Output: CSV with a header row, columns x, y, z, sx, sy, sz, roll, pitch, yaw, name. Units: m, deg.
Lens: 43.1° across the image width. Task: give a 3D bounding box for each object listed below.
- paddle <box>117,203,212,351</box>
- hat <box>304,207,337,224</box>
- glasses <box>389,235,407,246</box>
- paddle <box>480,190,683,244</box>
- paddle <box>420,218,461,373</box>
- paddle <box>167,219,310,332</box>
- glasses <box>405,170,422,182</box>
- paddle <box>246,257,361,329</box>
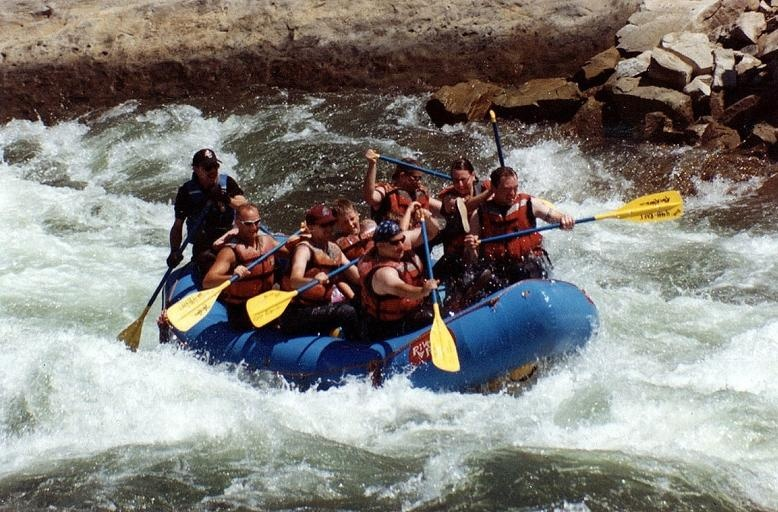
x,y,z,sx,sy,sz,roll,pitch,yaw,name
-3.230,0.376,14.193,0.397,0.168,2.435,31,77,-6,paddle
-0.880,-0.521,12.594,0.297,0.186,0.228,-20,3,26,hat
0.107,-0.190,12.075,0.203,0.125,0.064,-20,43,-19,glasses
2.822,-0.532,14.047,2.642,0.248,0.425,-14,80,1,paddle
0.566,0.425,12.679,0.335,0.119,2.588,9,48,-20,paddle
-1.993,0.186,14.197,0.389,0.709,3.995,-18,17,29,paddle
0.356,-1.091,13.283,0.156,0.152,0.122,-24,23,6,glasses
-1.076,0.491,12.752,1.506,0.169,0.392,-28,78,0,paddle
